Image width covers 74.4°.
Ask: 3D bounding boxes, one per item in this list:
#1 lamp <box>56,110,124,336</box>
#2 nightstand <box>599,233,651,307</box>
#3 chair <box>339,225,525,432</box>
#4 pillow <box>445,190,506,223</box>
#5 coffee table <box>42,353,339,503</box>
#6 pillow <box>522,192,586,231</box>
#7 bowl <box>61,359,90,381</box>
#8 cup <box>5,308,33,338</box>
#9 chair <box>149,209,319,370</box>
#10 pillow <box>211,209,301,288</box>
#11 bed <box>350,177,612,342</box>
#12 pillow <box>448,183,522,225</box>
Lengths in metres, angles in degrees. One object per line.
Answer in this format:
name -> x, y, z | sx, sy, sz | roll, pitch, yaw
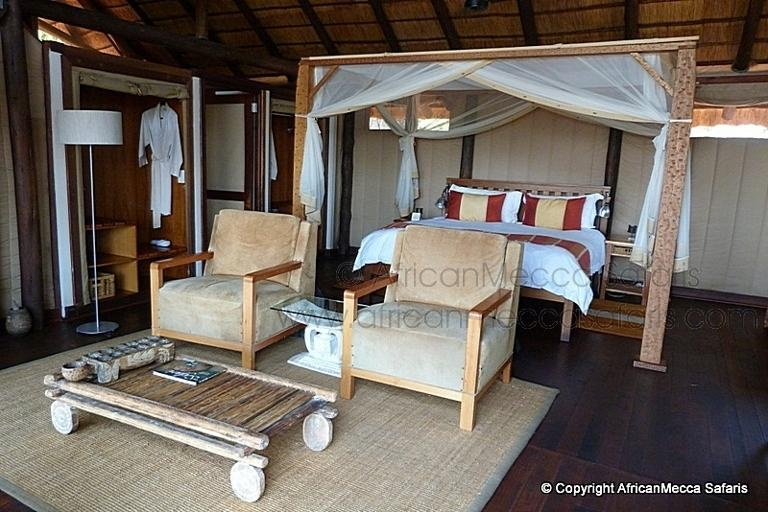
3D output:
lamp -> -2.888, -0.391, 5.088 | 0.510, 2.062, 1.331 | -4, 14, -27
nightstand -> 2.944, 0.174, 6.199 | 0.518, 0.758, 1.080 | 7, 12, 23
chair -> 0.394, 0.443, 4.060 | 1.317, 1.040, 1.382 | 12, 22, 36
pillow -> 1.226, -0.654, 6.705 | 0.514, 0.265, 0.137 | 5, -19, 32
coffee table -> -1.076, 0.945, 3.228 | 1.658, 0.355, 0.795 | 5, 9, 29
pillow -> 2.125, -0.563, 6.399 | 0.777, 0.426, 0.226 | 7, 4, 31
bowl -> -2.049, 0.753, 3.353 | 0.146, 0.079, 0.148 | 1, 1, 0
cup -> -3.326, 0.592, 4.574 | 0.268, 0.279, 0.252 | 1, 0, 0
chair -> -1.366, 0.189, 4.649 | 1.227, 0.974, 1.249 | 13, 20, 27
pillow -> -1.246, -0.094, 4.852 | 0.960, 0.668, 0.209 | 5, 5, 19
bed -> 1.684, 0.116, 6.200 | 2.498, 1.323, 2.297 | 6, 10, 31
pillow -> 1.324, -0.698, 6.693 | 0.943, 0.462, 0.259 | 5, -9, 19
